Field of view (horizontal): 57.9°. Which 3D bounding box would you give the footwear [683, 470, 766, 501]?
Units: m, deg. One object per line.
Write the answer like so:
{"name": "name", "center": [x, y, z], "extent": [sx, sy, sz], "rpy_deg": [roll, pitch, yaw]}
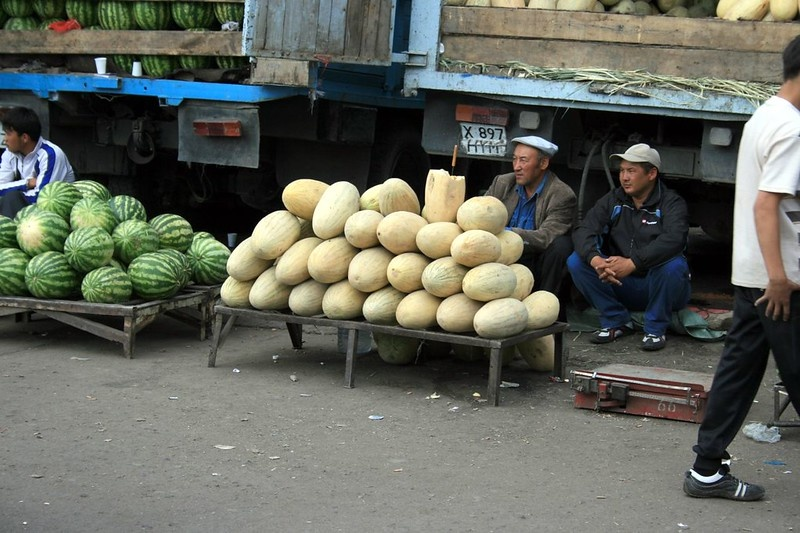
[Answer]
{"name": "footwear", "center": [1.744, 1.200, 3.969], "extent": [0.462, 0.167, 0.157], "rpy_deg": [1, -4, 1]}

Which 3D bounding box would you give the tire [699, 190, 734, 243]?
{"name": "tire", "center": [3.409, -0.504, 7.517], "extent": [0.163, 0.503, 0.524], "rpy_deg": [4, 9, -32]}

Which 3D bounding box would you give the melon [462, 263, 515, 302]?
{"name": "melon", "center": [0.641, 0.091, 5.142], "extent": [0.326, 0.296, 0.534], "rpy_deg": [-6, 0, 36]}

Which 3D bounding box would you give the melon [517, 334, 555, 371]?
{"name": "melon", "center": [1.081, 0.690, 5.726], "extent": [0.276, 0.295, 0.202], "rpy_deg": [1, 14, -2]}

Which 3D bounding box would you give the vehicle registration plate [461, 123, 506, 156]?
{"name": "vehicle registration plate", "center": [0.785, -1.185, 6.689], "extent": [0.322, 0.213, 0.062], "rpy_deg": [7, 27, 18]}

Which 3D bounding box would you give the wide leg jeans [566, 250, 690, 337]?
{"name": "wide leg jeans", "center": [2.138, 0.227, 6.418], "extent": [0.833, 0.634, 1.025], "rpy_deg": [-7, 7, -44]}

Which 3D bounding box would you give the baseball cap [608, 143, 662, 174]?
{"name": "baseball cap", "center": [1.970, -0.892, 6.013], "extent": [0.325, 0.120, 0.217], "rpy_deg": [5, 5, -14]}

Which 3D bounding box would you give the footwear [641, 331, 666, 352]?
{"name": "footwear", "center": [2.164, 0.645, 6.171], "extent": [0.135, 0.142, 0.360], "rpy_deg": [-3, -8, 25]}

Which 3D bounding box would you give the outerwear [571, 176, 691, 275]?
{"name": "outerwear", "center": [2.012, -0.349, 6.271], "extent": [0.925, 0.707, 1.075], "rpy_deg": [8, 27, 30]}

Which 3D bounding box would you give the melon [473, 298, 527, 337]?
{"name": "melon", "center": [0.687, 0.349, 4.982], "extent": [0.375, 0.206, 0.207], "rpy_deg": [-10, -31, -40]}

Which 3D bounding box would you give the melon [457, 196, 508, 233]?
{"name": "melon", "center": [0.571, -0.345, 5.110], "extent": [0.328, 0.233, 0.247], "rpy_deg": [-5, 15, 0]}

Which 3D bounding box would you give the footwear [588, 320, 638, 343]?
{"name": "footwear", "center": [1.879, 0.591, 6.520], "extent": [0.510, 0.199, 0.164], "rpy_deg": [-6, 8, -28]}

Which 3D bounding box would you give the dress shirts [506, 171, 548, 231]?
{"name": "dress shirts", "center": [1.131, -0.542, 6.254], "extent": [0.459, 0.435, 0.180], "rpy_deg": [15, -2, 37]}

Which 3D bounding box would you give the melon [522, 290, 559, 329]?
{"name": "melon", "center": [1.039, 0.326, 5.296], "extent": [0.320, 0.186, 0.204], "rpy_deg": [-34, 10, -38]}

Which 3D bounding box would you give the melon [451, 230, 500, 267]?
{"name": "melon", "center": [0.525, -0.121, 4.960], "extent": [0.318, 0.217, 0.223], "rpy_deg": [-7, 4, -25]}

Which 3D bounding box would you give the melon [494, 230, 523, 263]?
{"name": "melon", "center": [0.813, -0.145, 5.232], "extent": [0.191, 0.179, 0.247], "rpy_deg": [5, -9, -19]}
